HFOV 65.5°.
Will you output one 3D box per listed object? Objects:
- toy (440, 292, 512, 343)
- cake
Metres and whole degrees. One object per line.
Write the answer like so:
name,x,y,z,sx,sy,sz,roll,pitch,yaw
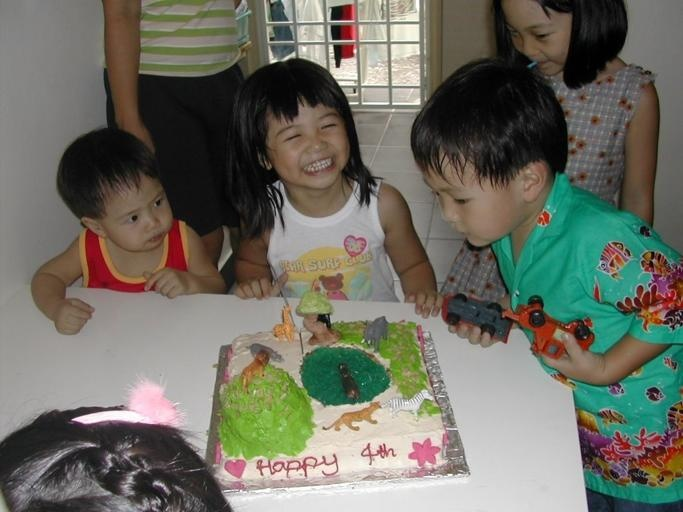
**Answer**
toy,0.368,0.170,1.468,0.183,0.053,0.112,20,73,18
cake,-0.035,0.319,1.355,0.627,0.152,0.484,-3,36,0
